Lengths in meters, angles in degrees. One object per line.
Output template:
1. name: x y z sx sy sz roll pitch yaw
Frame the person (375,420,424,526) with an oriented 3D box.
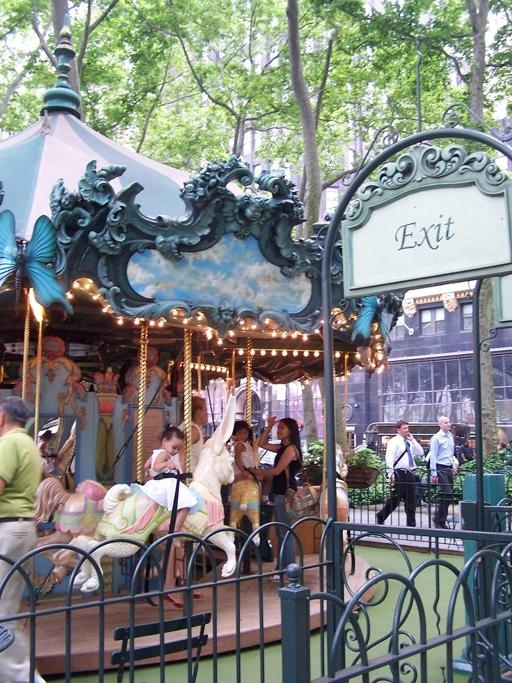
1. person: 2.321 2.170 13.516 0.717 1.691 1.562 -2 -10 10
